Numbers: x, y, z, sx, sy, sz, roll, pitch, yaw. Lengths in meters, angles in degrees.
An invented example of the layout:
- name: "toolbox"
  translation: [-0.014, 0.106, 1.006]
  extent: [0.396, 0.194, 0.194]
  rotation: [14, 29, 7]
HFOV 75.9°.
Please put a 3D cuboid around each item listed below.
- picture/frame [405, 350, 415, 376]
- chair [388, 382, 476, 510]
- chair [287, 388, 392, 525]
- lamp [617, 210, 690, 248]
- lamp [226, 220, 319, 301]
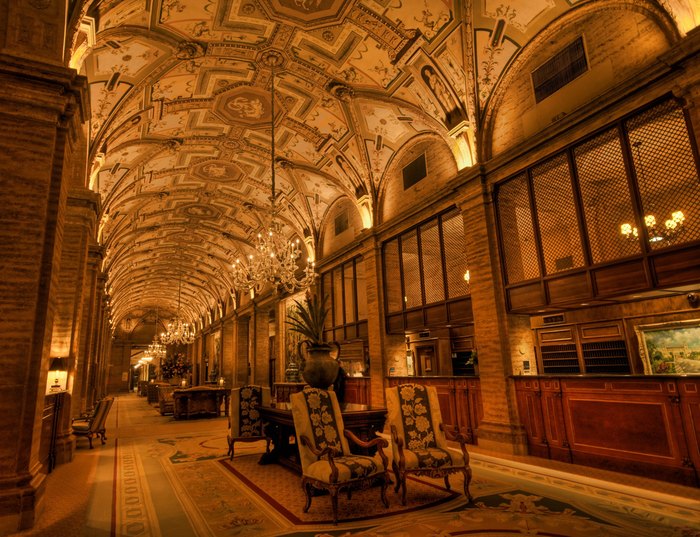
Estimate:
- name: "picture/frame"
  translation: [2.122, 3.259, 15.693]
  extent: [0.208, 0.796, 0.265]
  rotation: [0, -12, -8]
- name: "chair"
  translation: [1.011, 2.305, 6.150]
  extent: [0.988, 1.372, 1.116]
  rotation: [-2, -11, 3]
- name: "chair"
  translation: [-0.152, 2.256, 5.713]
  extent: [0.928, 1.412, 0.893]
  rotation: [6, -14, -33]
- name: "lamp"
  translation: [4.723, -0.581, 7.005]
  extent: [0.901, 0.648, 1.049]
  rotation: [-9, -14, 35]
- name: "lamp"
  translation: [-1.717, -0.474, 10.260]
  extent: [1.849, 1.556, 1.821]
  rotation: [-4, -5, 18]
